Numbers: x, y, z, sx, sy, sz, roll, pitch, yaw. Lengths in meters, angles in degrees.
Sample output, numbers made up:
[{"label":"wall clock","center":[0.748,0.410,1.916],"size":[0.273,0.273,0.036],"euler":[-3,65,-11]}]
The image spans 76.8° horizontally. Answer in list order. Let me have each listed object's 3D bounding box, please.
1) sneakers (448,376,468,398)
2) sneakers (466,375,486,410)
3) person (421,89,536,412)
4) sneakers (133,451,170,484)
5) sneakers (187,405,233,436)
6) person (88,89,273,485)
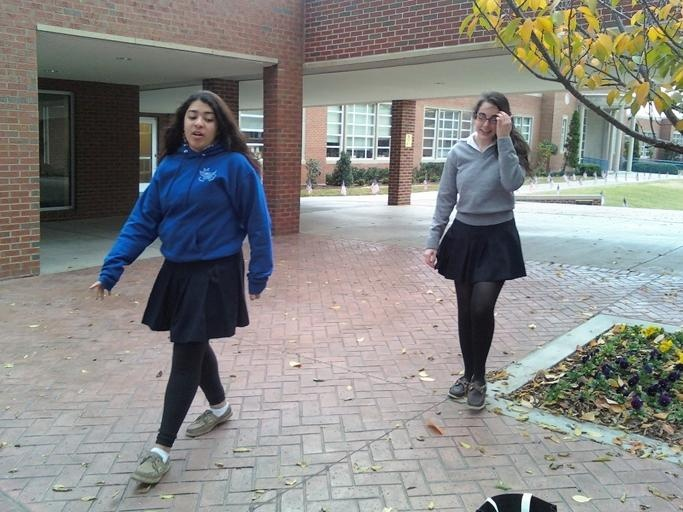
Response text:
[{"label":"sneakers","center":[0.948,1.052,3.421],"size":[0.090,0.081,0.235],"euler":[9,11,32]},{"label":"sneakers","center":[1.016,1.038,3.173],"size":[0.111,0.078,0.266],"euler":[1,7,14]},{"label":"person","center":[1.010,-0.019,3.218],"size":[0.707,2.341,0.531],"euler":[6,12,32]},{"label":"sneakers","center":[-1.049,1.161,2.364],"size":[0.139,0.109,0.295],"euler":[3,-8,2]},{"label":"sneakers","center":[-0.899,1.124,2.954],"size":[0.106,0.108,0.316],"euler":[10,18,41]},{"label":"person","center":[-0.910,0.132,2.498],"size":[1.118,2.046,0.932],"euler":[0,4,6]}]
